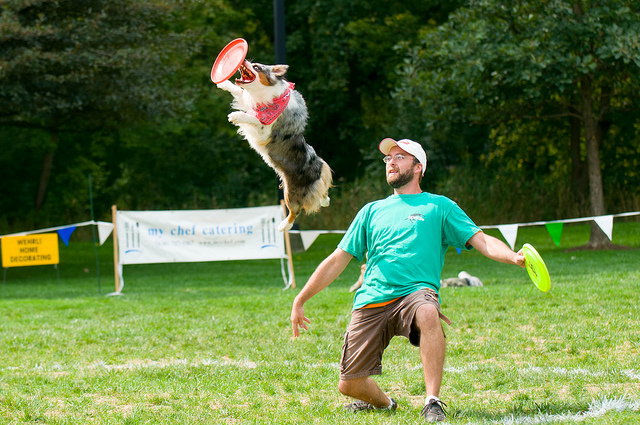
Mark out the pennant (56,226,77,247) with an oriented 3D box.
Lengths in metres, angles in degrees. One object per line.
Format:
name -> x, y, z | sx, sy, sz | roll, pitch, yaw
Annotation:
pennant -> -5.069, 0.441, 24.183 | 0.364, 0.362, 0.507 | 0, -3, -13

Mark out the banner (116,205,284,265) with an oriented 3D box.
banner -> -2.392, 0.417, 24.346 | 3.406, 1.241, 0.047 | -2, 29, -8

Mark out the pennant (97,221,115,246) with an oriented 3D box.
pennant -> -4.359, 0.401, 24.716 | 0.457, 0.553, 0.121 | -2, 7, -10

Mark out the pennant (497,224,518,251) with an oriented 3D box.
pennant -> 3.694, 0.449, 23.857 | 0.387, 0.502, 0.749 | -1, -3, 9

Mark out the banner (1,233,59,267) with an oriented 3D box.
banner -> -5.683, 0.698, 23.779 | 1.067, 0.629, 0.207 | 0, -3, -18

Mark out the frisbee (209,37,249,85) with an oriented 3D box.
frisbee -> -1.454, -2.450, 19.431 | 0.620, 0.690, 0.107 | -28, -43, 35
